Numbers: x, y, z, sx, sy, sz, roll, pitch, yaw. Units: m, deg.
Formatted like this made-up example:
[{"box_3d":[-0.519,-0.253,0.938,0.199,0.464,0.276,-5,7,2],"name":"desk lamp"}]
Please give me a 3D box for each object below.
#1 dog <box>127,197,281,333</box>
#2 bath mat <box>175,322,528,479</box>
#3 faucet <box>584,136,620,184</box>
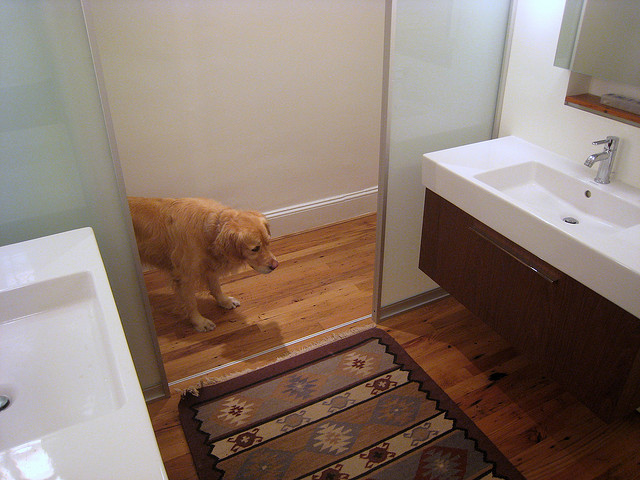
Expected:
[{"box_3d":[-0.884,0.089,2.800,1.325,0.636,0.350,12,20,23],"name":"dog"},{"box_3d":[0.048,0.830,2.288,1.456,0.058,0.882,-8,35,-5],"name":"bath mat"},{"box_3d":[1.202,-0.327,2.036,0.105,0.193,0.181,18,43,28],"name":"faucet"}]
